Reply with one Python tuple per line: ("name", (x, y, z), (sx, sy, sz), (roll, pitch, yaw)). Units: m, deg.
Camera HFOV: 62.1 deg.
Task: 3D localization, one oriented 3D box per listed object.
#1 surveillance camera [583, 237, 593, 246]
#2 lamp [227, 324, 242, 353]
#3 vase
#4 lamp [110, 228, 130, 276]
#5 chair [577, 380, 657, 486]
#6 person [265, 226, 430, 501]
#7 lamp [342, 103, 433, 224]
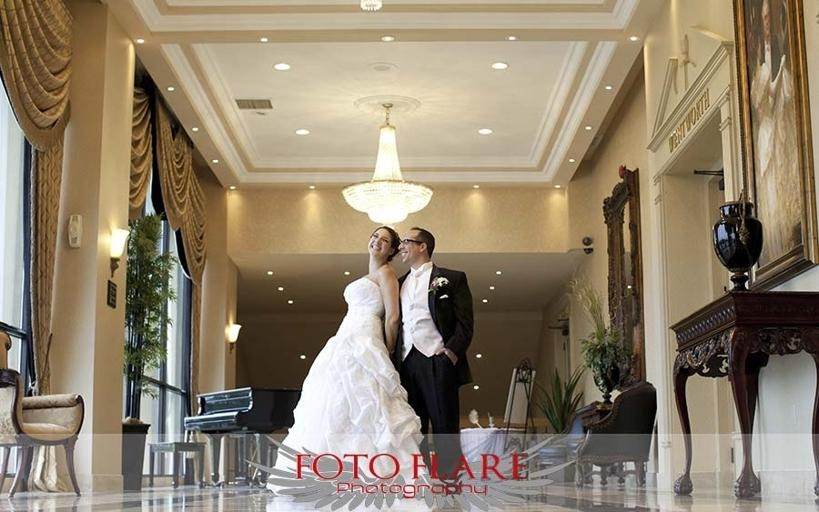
("surveillance camera", (3.103, -0.242, 12.001), (0.190, 0.147, 0.097), (-11, -21, 24))
("lamp", (-3.394, 1.528, 12.881), (0.202, 0.641, 0.970), (2, -20, -11))
("vase", (2.337, -0.047, 4.887), (0.356, 0.664, 0.352), (8, -12, -33))
("lamp", (-3.331, -0.013, 7.670), (0.203, 0.532, 0.200), (6, -17, -8))
("chair", (2.275, 2.157, 8.099), (1.054, 1.331, 0.972), (0, -25, 6))
("person", (-0.417, 0.686, 4.662), (0.934, 1.790, 0.389), (-1, -19, -2))
("lamp", (-0.352, -1.238, 10.705), (1.554, 2.129, 1.605), (1, -17, -3))
